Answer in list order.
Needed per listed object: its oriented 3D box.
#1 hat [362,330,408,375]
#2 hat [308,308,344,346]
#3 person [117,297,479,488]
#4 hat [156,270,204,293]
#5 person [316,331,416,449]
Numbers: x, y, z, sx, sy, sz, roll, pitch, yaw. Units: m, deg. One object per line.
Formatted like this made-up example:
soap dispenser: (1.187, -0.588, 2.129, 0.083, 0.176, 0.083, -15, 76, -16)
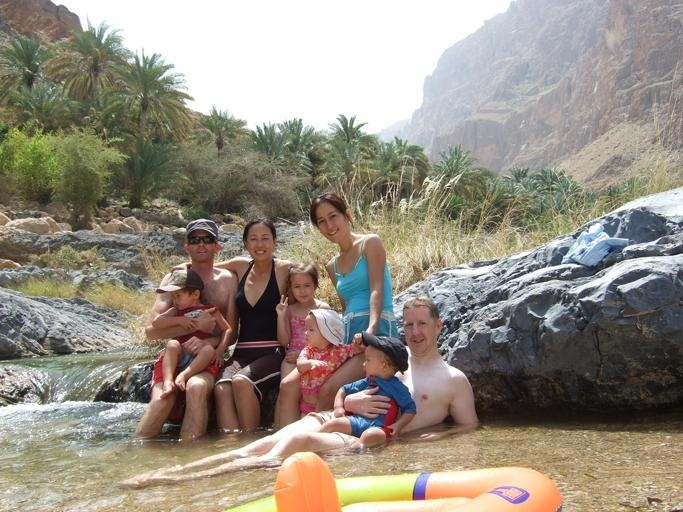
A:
hat: (0.350, 0.694, 4.346, 0.393, 0.196, 0.277, 24, -15, 13)
hat: (-0.132, 0.630, 4.740, 0.332, 0.341, 0.291, 5, -5, 6)
person: (-0.132, 1.058, 4.274, 2.214, 0.953, 1.063, -5, -6, -15)
hat: (-1.492, 0.267, 5.188, 0.330, 0.174, 0.229, 4, -11, -29)
person: (0.150, 1.002, 4.168, 0.779, 0.878, 0.627, 11, -10, -30)
